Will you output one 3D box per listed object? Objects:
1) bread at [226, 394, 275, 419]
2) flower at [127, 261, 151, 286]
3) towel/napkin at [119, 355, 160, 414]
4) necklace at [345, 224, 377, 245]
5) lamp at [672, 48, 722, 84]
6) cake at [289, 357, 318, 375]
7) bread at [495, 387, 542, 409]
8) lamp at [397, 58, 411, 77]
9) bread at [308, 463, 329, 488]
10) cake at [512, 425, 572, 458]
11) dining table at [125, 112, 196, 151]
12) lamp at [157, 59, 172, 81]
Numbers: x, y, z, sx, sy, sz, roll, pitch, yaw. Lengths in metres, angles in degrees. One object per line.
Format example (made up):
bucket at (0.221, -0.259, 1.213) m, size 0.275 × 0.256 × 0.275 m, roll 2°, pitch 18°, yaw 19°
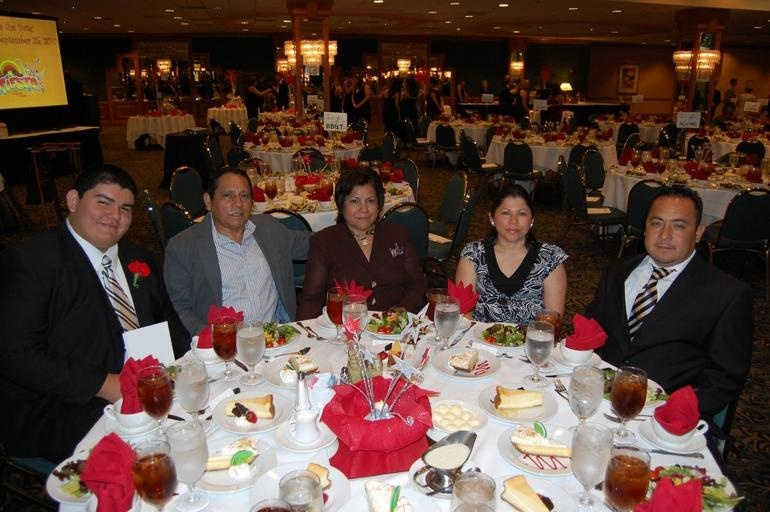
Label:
bread at (-0.516, 0.578, 1.967) m, size 0.119 × 0.042 × 0.103 m, roll 4°, pitch 4°, yaw -4°
flower at (-1.261, 0.112, 2.575) m, size 0.116 × 0.149 × 0.071 m, roll 6°, pitch -19°, yaw -16°
towel/napkin at (-0.968, 0.488, 1.968) m, size 0.157 × 0.212 × 0.069 m, roll -2°, pitch -1°, yaw -13°
necklace at (-0.135, -0.145, 3.201) m, size 0.105 × 0.143 × 0.060 m, roll -2°, pitch 5°, yaw -5°
lamp at (6.773, -4.143, 10.972) m, size 0.872 × 0.619 × 0.896 m, roll 9°, pitch 20°, yaw 25°
cake at (-0.358, 0.468, 2.188) m, size 0.089 × 0.036 × 0.090 m, roll -1°, pitch 12°, yaw -11°
bread at (0.529, 0.568, 1.994) m, size 0.112 × 0.042 × 0.097 m, roll -4°, pitch 0°, yaw -1°
lamp at (0.748, -7.696, 20.369) m, size 0.611 × 0.719 × 0.617 m, roll -5°, pitch 18°, yaw -14°
bread at (-0.218, 0.731, 1.696) m, size 0.076 × 0.069 × 0.059 m, roll 7°, pitch 18°, yaw 19°
cake at (0.564, 0.656, 1.813) m, size 0.153 × 0.038 × 0.095 m, roll 10°, pitch 7°, yaw 11°
dining table at (-6.332, -3.447, 13.905) m, size 1.670 × 0.877 × 1.687 m, roll -13°, pitch 23°, yaw -35°
lamp at (-8.048, -6.855, 18.386) m, size 0.473 × 0.729 × 0.682 m, roll -9°, pitch 20°, yaw -30°
